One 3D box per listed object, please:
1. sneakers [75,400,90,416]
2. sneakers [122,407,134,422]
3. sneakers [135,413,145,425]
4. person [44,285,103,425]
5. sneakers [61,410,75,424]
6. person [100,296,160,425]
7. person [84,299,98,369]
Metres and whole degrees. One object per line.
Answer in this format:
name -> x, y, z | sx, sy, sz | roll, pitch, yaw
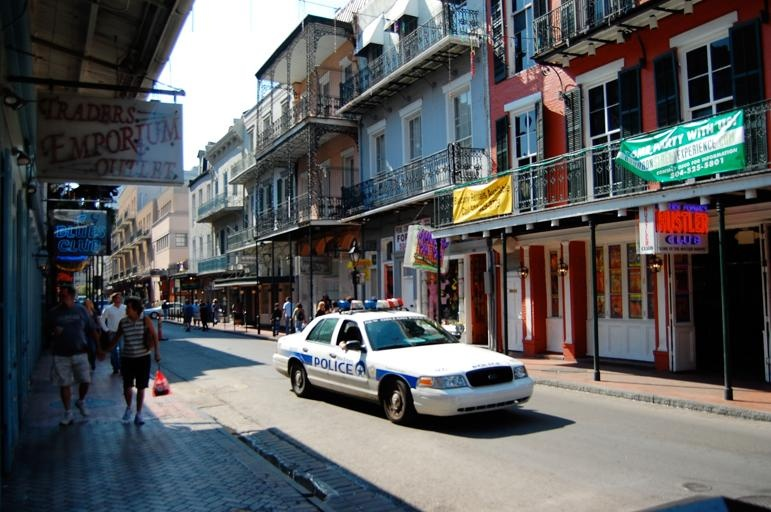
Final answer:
sneakers -> -6.337, 3.168, 14.805 | 0.372, 0.164, 0.130 | 44, 27, 27
sneakers -> -5.210, 3.229, 14.374 | 0.151, 0.237, 0.321 | 5, -11, -12
sneakers -> -4.927, 3.237, 14.184 | 0.200, 0.192, 0.335 | -2, 5, -20
person -> -6.185, 2.002, 14.120 | 0.907, 2.702, 0.900 | -2, 0, -16
sneakers -> -6.328, 3.175, 14.097 | 0.222, 0.283, 0.549 | -2, 5, -19
person -> -5.057, 2.109, 14.375 | 0.879, 2.492, 0.663 | 3, 6, 38
person -> -7.235, 1.929, 17.437 | 0.470, 1.727, 0.452 | -3, -7, -16
